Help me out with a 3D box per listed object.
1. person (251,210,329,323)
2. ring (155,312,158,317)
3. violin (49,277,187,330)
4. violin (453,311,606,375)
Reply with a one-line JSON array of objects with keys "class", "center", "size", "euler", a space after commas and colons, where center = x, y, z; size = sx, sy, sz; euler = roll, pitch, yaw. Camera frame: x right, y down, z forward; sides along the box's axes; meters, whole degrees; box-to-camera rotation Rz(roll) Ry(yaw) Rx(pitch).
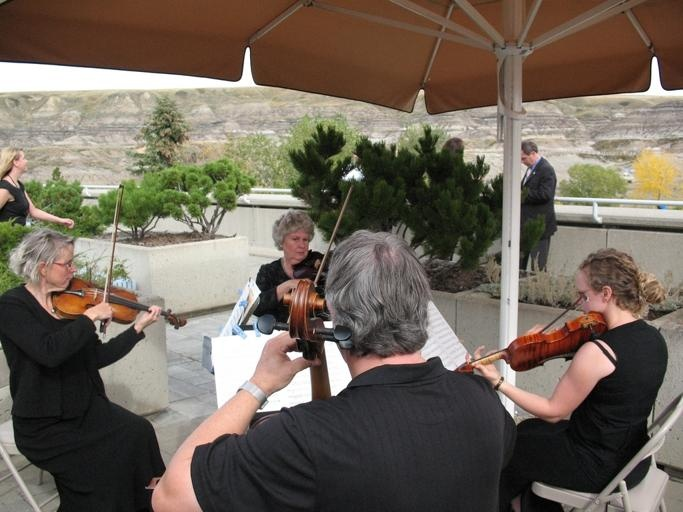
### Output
[{"class": "person", "center": [-0.398, 0.069, 4.069], "size": [0.448, 0.906, 0.454], "euler": [-5, 17, -37]}, {"class": "ring", "center": [-1.272, 0.403, 3.785], "size": [0.017, 0.007, 0.024], "euler": [1, -40, -11]}, {"class": "violin", "center": [-1.641, 0.341, 3.980], "size": [0.363, 0.185, 0.925], "euler": [35, 8, 37]}, {"class": "violin", "center": [1.204, 0.548, 3.457], "size": [0.784, 0.123, 0.332], "euler": [-20, -46, 20]}]
